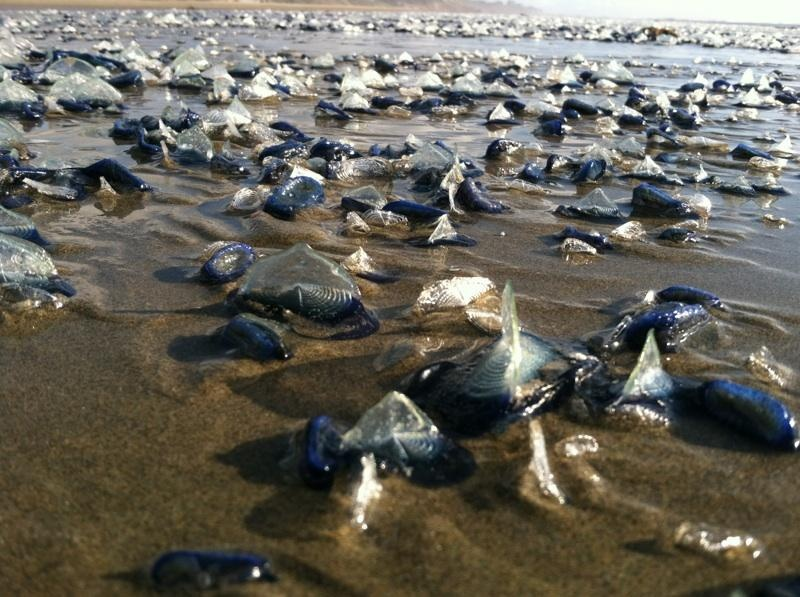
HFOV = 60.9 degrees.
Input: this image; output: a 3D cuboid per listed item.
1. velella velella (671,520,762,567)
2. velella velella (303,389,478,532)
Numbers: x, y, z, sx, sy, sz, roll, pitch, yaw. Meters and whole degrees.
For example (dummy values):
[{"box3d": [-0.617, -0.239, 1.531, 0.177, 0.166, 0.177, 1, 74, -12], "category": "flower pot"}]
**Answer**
[{"box3d": [0.954, 0.733, 2.042, 0.259, 0.047, 0.096, 11, 26, 6], "category": "velella velella"}, {"box3d": [-0.038, 0.505, 2.234, 0.481, 0.132, 0.477, -35, 55, -31], "category": "velella velella"}]
